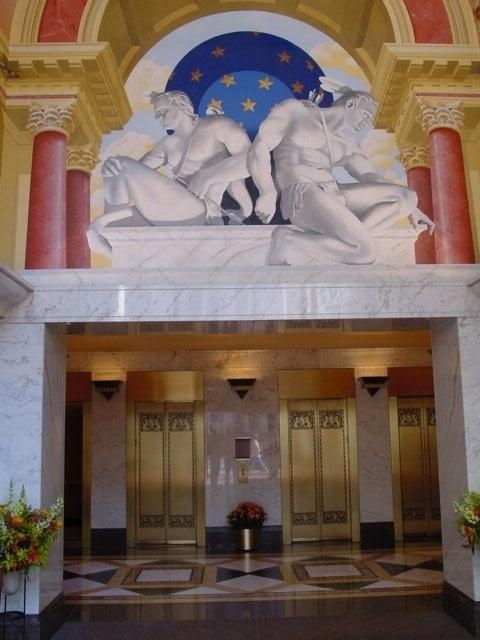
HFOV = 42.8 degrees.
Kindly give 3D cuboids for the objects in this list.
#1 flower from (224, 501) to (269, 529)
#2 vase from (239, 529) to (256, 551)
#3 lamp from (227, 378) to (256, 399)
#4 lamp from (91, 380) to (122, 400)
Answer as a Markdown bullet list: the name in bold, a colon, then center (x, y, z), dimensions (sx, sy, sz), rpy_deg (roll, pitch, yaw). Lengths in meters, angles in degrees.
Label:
- **flower**: center (0.120, 2.846, 8.841), dimensions (0.399, 0.361, 0.386), rpy_deg (-3, -3, -6)
- **vase**: center (0.107, 3.205, 8.939), dimensions (0.302, 0.333, 0.289), rpy_deg (0, -6, -3)
- **lamp**: center (0.037, 1.021, 9.564), dimensions (0.354, 0.097, 0.352), rpy_deg (-3, -49, 4)
- **lamp**: center (-2.068, 1.077, 9.641), dimensions (0.390, 0.293, 0.346), rpy_deg (-1, -9, -4)
